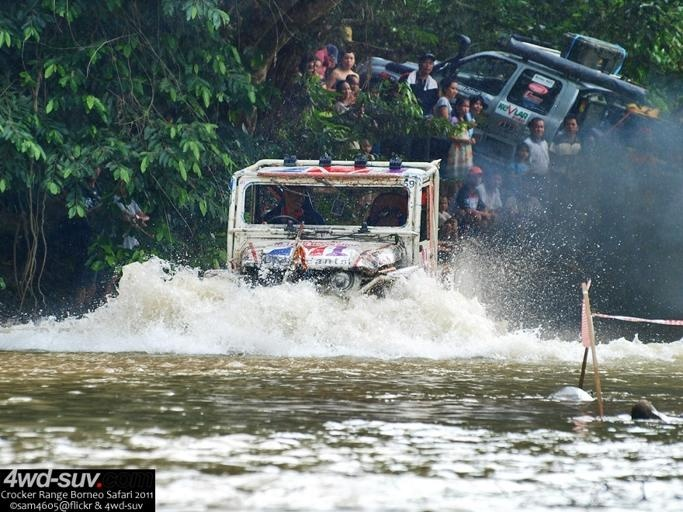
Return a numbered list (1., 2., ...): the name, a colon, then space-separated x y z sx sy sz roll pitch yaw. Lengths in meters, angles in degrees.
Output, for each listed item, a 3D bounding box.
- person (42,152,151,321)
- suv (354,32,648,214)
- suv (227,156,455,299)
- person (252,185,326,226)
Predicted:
1. person: -4.061 -0.244 18.460 1.110 2.478 1.346 10 13 43
2. suv: 3.485 -3.049 22.794 4.059 2.655 3.072 17 19 8
3. suv: -0.142 -0.492 15.270 1.629 1.649 2.406 0 -4 14
4. person: -0.650 -0.678 15.698 0.838 0.665 0.492 1 -5 -9
